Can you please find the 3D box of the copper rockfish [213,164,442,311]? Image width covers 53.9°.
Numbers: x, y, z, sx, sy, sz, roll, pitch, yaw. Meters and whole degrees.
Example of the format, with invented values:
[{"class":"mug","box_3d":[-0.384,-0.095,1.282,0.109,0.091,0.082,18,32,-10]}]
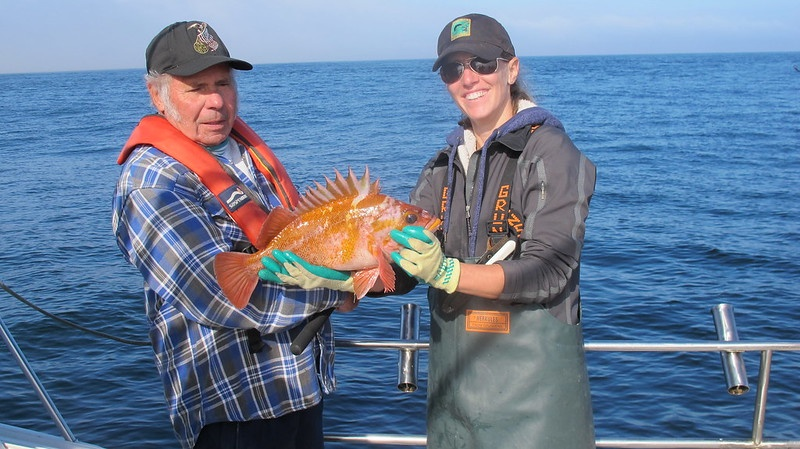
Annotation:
[{"class":"copper rockfish","box_3d":[-1.300,0.246,13.933,3.678,2.243,0.701,-5,15,1]}]
